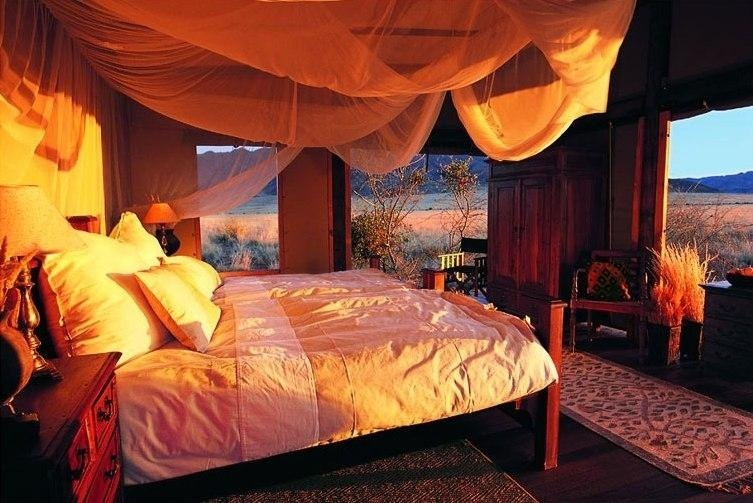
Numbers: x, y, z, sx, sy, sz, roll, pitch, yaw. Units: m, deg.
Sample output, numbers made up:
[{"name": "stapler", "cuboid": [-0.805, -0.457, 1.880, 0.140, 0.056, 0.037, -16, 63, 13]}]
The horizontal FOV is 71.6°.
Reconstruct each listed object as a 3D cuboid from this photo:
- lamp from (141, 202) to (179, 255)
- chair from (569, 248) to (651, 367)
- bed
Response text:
[{"name": "lamp", "cuboid": [-2.532, -0.232, 6.197, 0.374, 0.640, 0.375, 4, -14, -34]}, {"name": "chair", "cuboid": [2.570, 0.494, 5.804, 0.876, 1.274, 0.921, 8, 18, 39]}, {"name": "bed", "cuboid": [-0.589, 0.556, 4.200, 3.257, 1.832, 2.381, -4, 5, -17]}]
